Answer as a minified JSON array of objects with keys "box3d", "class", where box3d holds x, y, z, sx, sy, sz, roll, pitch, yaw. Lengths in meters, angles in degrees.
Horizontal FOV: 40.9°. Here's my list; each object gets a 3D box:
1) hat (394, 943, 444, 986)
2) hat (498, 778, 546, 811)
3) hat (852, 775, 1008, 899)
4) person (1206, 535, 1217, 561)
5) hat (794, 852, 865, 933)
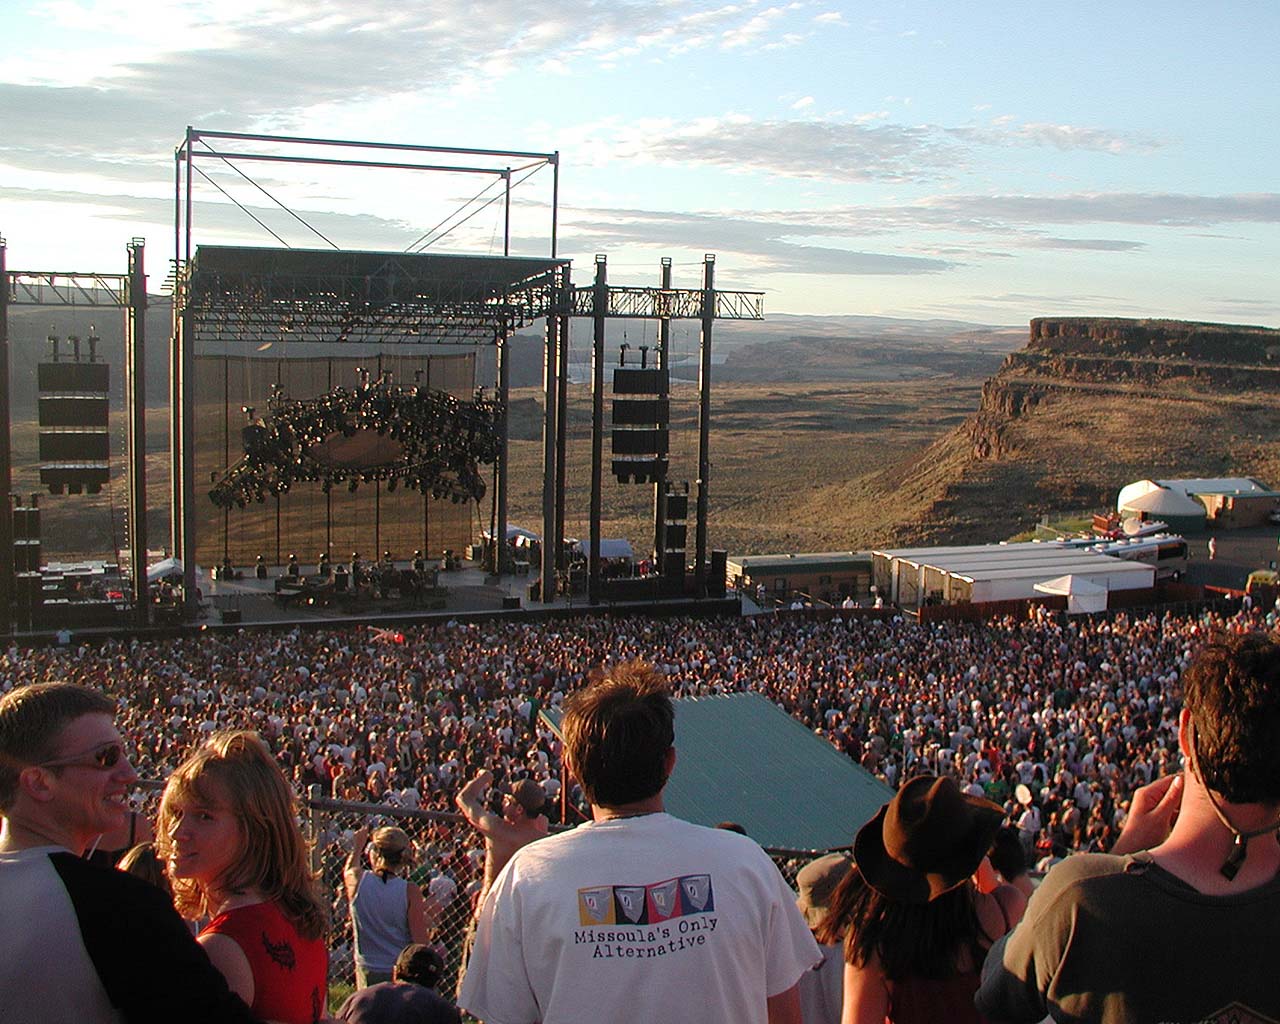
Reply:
[{"box3d":[-1.107,2.350,8.767,0.221,0.257,0.266,2,4,8],"class":"hat"},{"box3d":[-0.648,1.608,9.723,0.168,0.208,0.205,9,31,-35],"class":"hat"},{"box3d":[1.309,1.392,7.864,0.649,0.331,0.856,-2,20,24],"class":"hat"},{"box3d":[19.448,1.251,58.661,0.334,0.433,0.749,6,35,17],"class":"person"},{"box3d":[0.906,1.902,8.581,0.305,0.226,0.425,2,6,5],"class":"hat"}]
